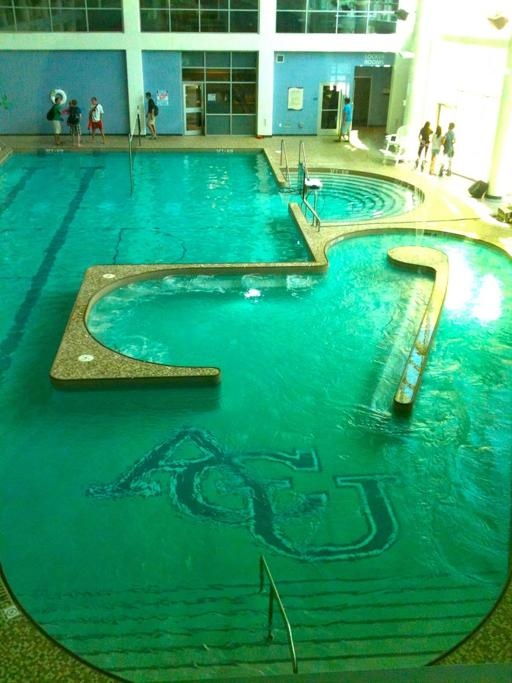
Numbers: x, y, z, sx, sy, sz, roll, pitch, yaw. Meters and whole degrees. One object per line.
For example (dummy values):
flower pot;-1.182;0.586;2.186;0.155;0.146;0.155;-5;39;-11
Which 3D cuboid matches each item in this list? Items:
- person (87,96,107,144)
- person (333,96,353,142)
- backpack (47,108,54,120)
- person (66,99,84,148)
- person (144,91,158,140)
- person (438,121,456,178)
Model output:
person;-6.093;-8.487;20.000;0.617;1.444;1.797;-4;25;-15
person;3.506;-8.694;20.591;0.475;1.574;1.242;6;25;6
backpack;-7.475;-8.341;19.194;0.151;0.521;0.537;8;-1;-23
person;-6.675;-8.007;19.258;0.466;1.474;1.104;-6;26;-18
person;-4.033;-8.756;20.337;0.449;1.598;0.964;-2;25;-10
person;5.885;-5.869;16.118;0.416;1.518;2.608;11;26;17
